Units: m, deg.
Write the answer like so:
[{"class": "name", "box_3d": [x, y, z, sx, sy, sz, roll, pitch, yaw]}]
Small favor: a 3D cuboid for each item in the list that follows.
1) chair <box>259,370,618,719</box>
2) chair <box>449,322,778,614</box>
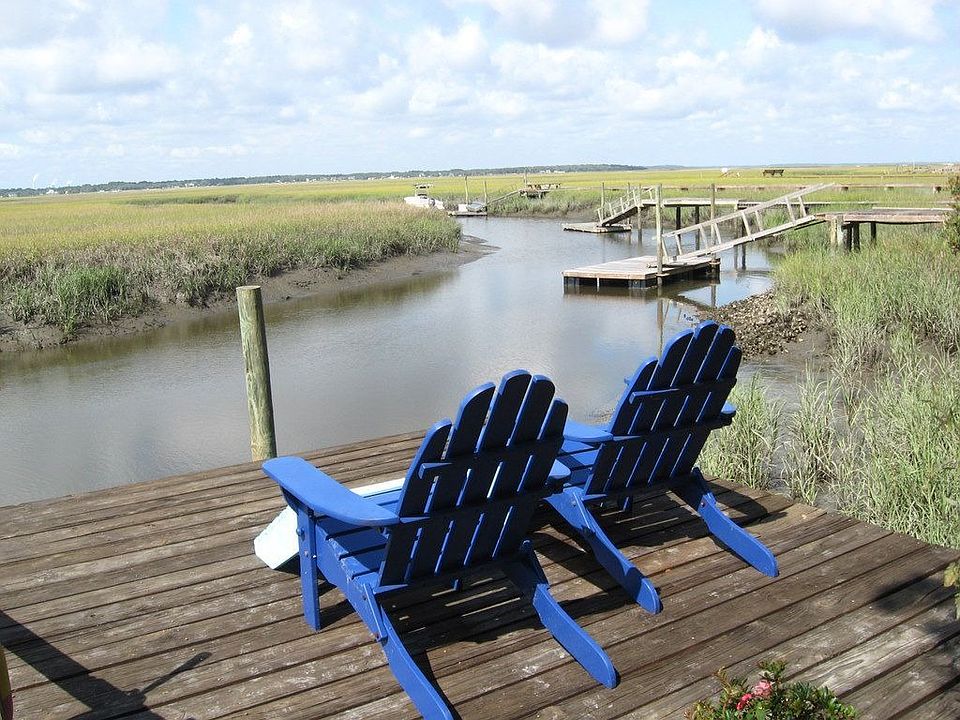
[{"class": "chair", "box_3d": [-0.090, 0.637, 3.350, 1.193, 1.411, 1.597, -6, 13, -30]}, {"class": "chair", "box_3d": [0.864, 0.419, 4.109, 1.106, 1.367, 1.457, -7, 14, -24]}]
